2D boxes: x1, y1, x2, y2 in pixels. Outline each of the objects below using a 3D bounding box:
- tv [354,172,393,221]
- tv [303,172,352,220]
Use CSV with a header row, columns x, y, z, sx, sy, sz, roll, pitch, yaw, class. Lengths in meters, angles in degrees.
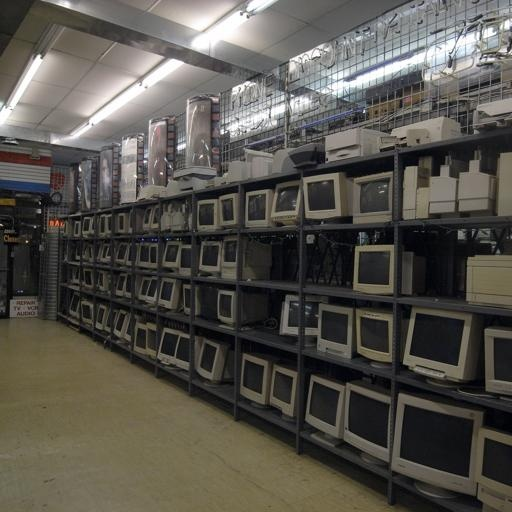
x,y,z,sx,sy,sz,roll,pitch,yaw,class
0.715,-0.355,2.837,0.219,0.351,0.278,1,-1,-39,tv
0.472,-0.365,3.143,0.275,0.328,0.277,1,-2,-40,tv
